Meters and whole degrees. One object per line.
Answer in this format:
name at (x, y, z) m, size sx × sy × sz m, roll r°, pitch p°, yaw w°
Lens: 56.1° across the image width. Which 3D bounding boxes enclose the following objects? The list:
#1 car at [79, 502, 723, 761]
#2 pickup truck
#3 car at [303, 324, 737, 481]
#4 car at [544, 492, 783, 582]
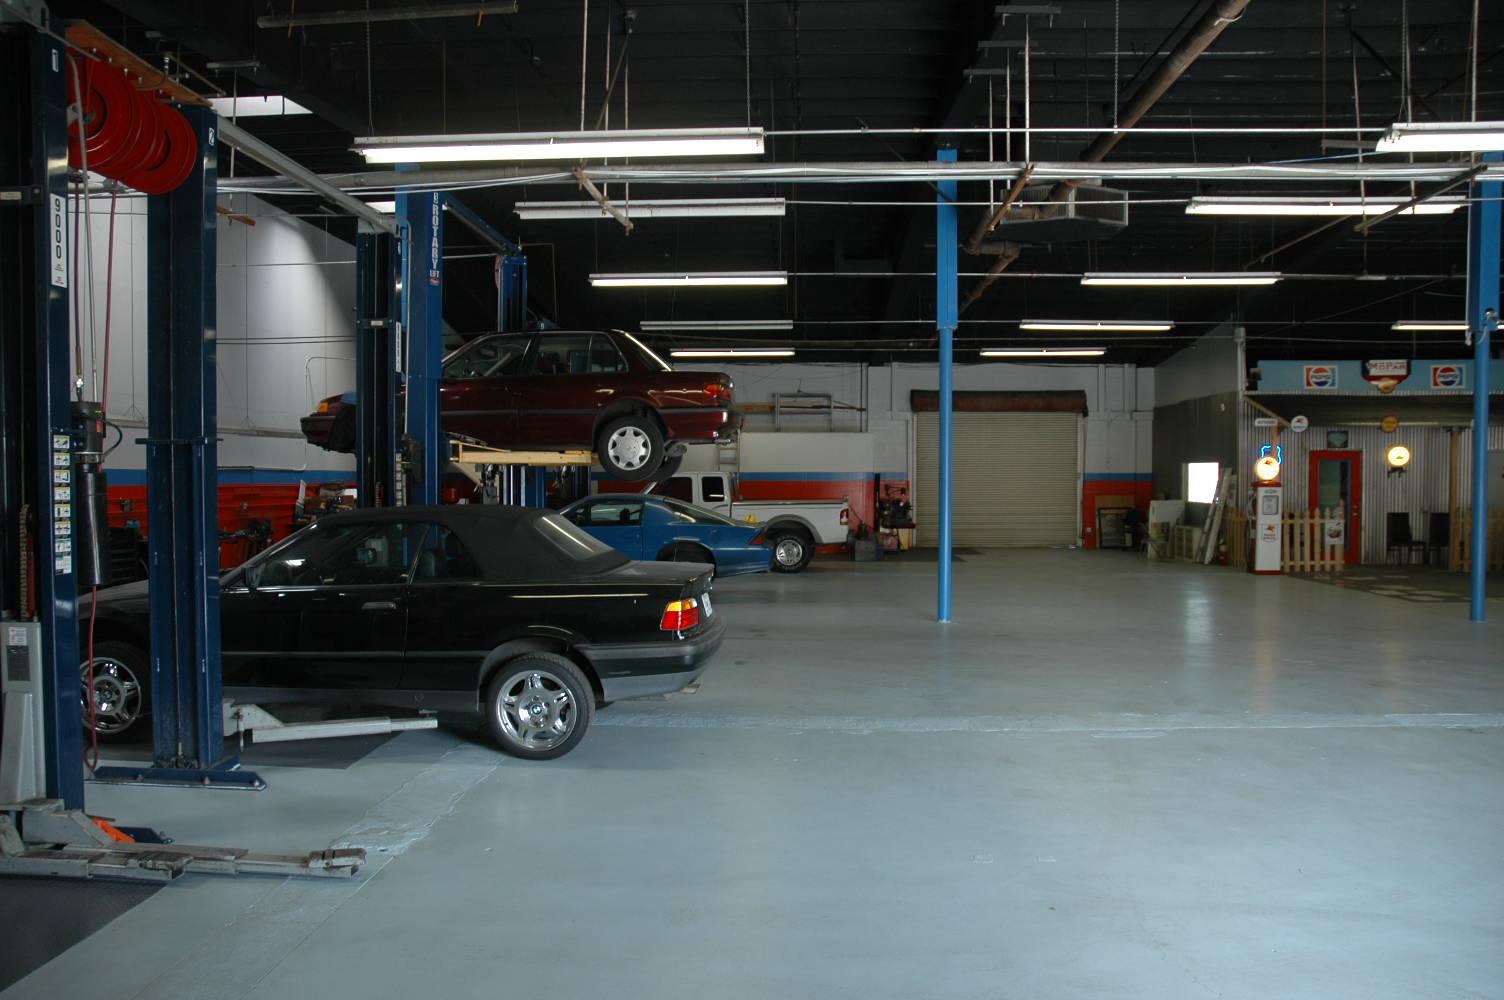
car at (-3.199, 1.199, 13.987) m, size 5.975 × 2.049 × 2.423 m, roll 2°, pitch 0°, yaw 2°
pickup truck at (0.152, 0.411, 24.809) m, size 3.142 × 1.253 × 1.653 m, roll 1°, pitch 0°, yaw -1°
car at (-2.399, -1.260, 18.636) m, size 5.301 × 1.874 × 2.223 m, roll 2°, pitch 2°, yaw 3°
car at (-1.188, 0.486, 21.617) m, size 2.861 × 0.898 × 1.306 m, roll 6°, pitch -1°, yaw 4°
